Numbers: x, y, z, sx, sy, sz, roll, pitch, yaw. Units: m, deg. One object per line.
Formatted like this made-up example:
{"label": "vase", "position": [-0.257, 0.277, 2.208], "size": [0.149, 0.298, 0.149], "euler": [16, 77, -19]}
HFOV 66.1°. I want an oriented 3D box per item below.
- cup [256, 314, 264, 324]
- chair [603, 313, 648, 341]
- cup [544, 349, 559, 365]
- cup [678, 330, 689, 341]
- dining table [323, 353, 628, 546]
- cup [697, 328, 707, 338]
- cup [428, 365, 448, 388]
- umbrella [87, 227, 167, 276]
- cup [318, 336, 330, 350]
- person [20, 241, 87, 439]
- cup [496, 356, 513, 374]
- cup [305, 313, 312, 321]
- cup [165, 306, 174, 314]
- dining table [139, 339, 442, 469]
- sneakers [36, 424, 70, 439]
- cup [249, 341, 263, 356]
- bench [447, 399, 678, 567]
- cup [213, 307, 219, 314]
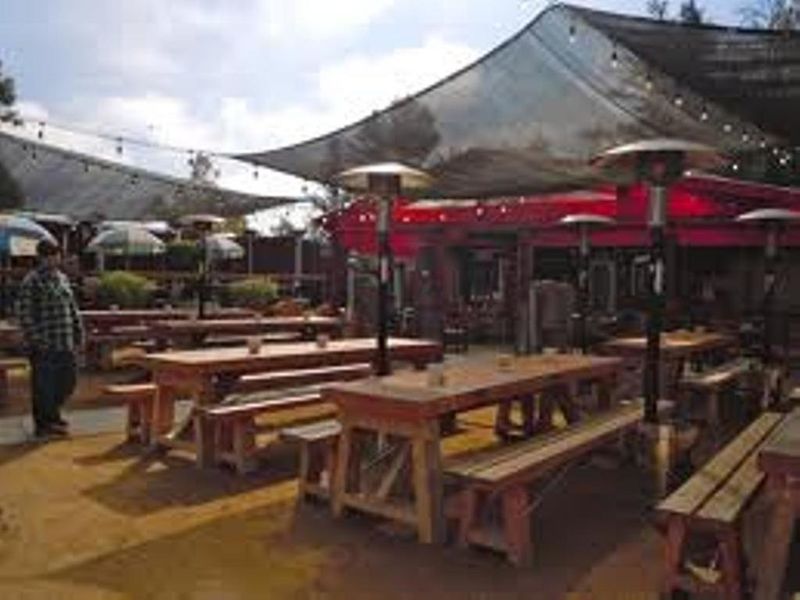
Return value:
{"label": "cup", "position": [-2.026, 0.270, 9.034], "size": [0.127, 0.135, 0.140], "euler": [-5, 8, -28]}
{"label": "chair", "position": [4.802, 0.620, 13.335], "size": [1.106, 0.367, 0.726], "euler": [0, 0, -24]}
{"label": "cup", "position": [1.538, 0.568, 6.209], "size": [0.150, 0.108, 0.146], "euler": [0, -3, 0]}
{"label": "cup", "position": [4.001, 0.501, 8.721], "size": [0.124, 0.144, 0.220], "euler": [-2, 1, -14]}
{"label": "dining table", "position": [0.944, 1.212, 5.817], "size": [1.010, 0.993, 3.509], "euler": [-1, 0, 40]}
{"label": "cup", "position": [4.373, 0.479, 8.942], "size": [0.123, 0.117, 0.066], "euler": [5, 19, 26]}
{"label": "cup", "position": [0.310, 0.619, 4.932], "size": [0.165, 0.116, 0.160], "euler": [-1, -2, 0]}
{"label": "umbrella", "position": [-6.120, -1.320, 13.846], "size": [1.418, 0.592, 1.211], "euler": [7, 9, 39]}
{"label": "cup", "position": [-0.844, 0.479, 6.909], "size": [0.146, 0.116, 0.150], "euler": [1, -4, 0]}
{"label": "person", "position": [-3.709, 0.396, 6.595], "size": [0.515, 2.037, 0.664], "euler": [-1, 8, -13]}
{"label": "cup", "position": [0.969, 0.592, 5.545], "size": [0.150, 0.111, 0.126], "euler": [6, -7, -38]}
{"label": "cup", "position": [-1.431, 0.270, 9.754], "size": [0.114, 0.079, 0.110], "euler": [0, -2, 0]}
{"label": "cup", "position": [-4.071, 0.166, 10.905], "size": [0.214, 0.148, 0.191], "euler": [-2, -3, -25]}
{"label": "dining table", "position": [-0.746, 1.219, 7.283], "size": [4.071, 1.157, 1.172], "euler": [3, 0, -41]}
{"label": "sneakers", "position": [-3.632, 1.401, 6.464], "size": [0.346, 0.143, 0.150], "euler": [-1, 1, -11]}
{"label": "cup", "position": [-1.472, 0.504, 6.294], "size": [0.148, 0.116, 0.149], "euler": [0, -3, 0]}
{"label": "bench", "position": [1.157, 1.413, 4.852], "size": [0.528, 0.640, 1.999], "euler": [7, 9, 41]}
{"label": "cup", "position": [-3.777, 0.208, 12.684], "size": [0.070, 0.082, 0.123], "euler": [0, 2, 34]}
